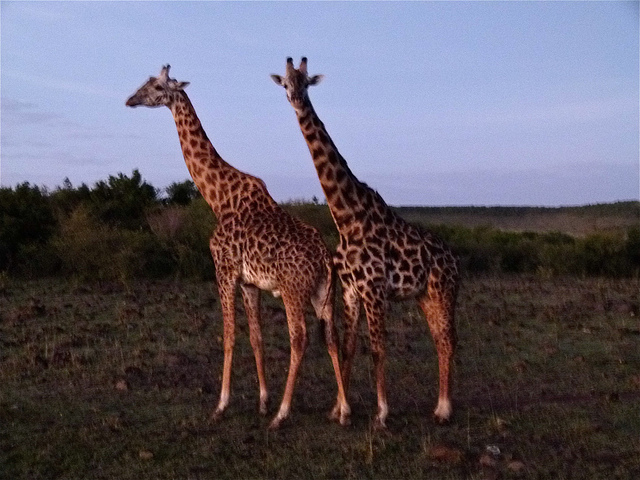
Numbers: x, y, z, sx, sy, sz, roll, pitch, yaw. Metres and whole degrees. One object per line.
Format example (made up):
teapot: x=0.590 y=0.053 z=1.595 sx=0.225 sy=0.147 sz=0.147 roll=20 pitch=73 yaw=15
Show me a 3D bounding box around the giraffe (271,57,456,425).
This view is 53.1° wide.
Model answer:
giraffe: x=0.830 y=0.037 z=9.451 sx=2.434 sy=5.206 sz=0.996 roll=2 pitch=11 yaw=9
